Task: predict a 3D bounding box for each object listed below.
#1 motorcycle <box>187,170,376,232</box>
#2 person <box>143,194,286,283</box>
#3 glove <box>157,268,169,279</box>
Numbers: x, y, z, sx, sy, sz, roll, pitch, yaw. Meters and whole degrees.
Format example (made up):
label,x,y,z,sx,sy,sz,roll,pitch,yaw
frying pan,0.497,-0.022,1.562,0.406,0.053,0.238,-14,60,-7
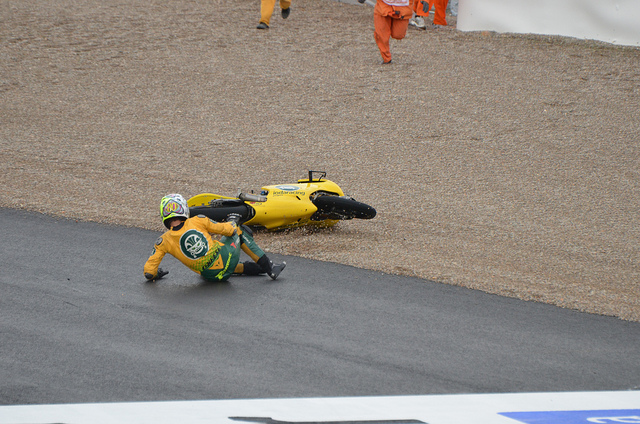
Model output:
label,x,y,z,sx,sy,sz,roll,pitch,yaw
motorcycle,-0.591,-0.150,11.754,3.380,0.900,1.013,-1,26,-8
person,-1.503,0.394,10.106,1.770,1.090,0.678,0,38,-5
glove,-2.164,0.834,10.140,0.127,0.044,0.131,1,26,13
